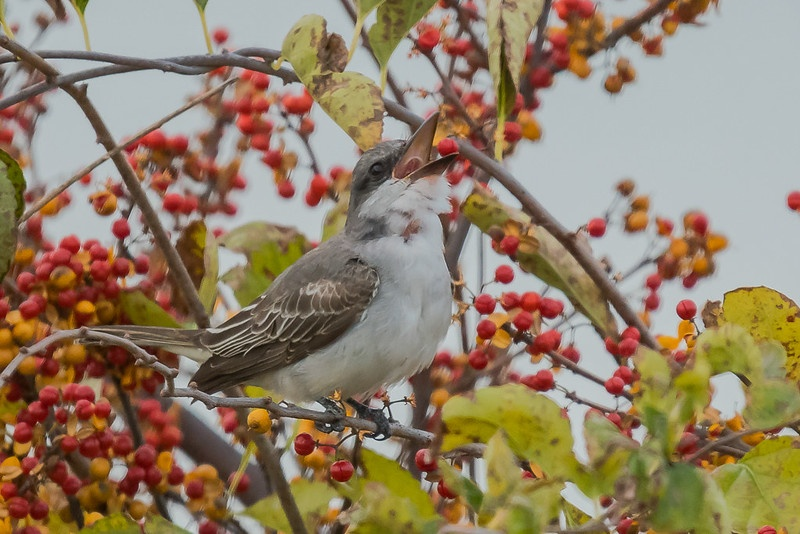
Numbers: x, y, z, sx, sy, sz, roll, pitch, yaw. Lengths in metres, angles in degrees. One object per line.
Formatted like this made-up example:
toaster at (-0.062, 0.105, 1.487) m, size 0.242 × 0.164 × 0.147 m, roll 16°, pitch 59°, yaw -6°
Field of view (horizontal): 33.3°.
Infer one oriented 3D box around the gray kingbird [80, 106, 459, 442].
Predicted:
gray kingbird at (-0.387, 0.055, 3.589) m, size 1.237 × 0.951 × 0.490 m, roll -7°, pitch -14°, yaw 22°
